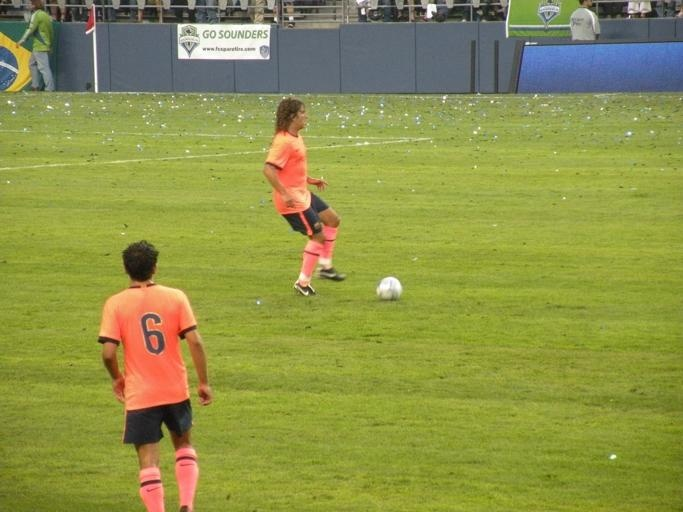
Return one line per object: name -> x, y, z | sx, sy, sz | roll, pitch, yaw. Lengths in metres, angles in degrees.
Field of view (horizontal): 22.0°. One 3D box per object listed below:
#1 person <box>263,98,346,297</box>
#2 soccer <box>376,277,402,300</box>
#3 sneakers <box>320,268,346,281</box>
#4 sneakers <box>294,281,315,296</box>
person -> -0.771, -1.098, 32.524 | 1.397, 3.617, 0.720 | -2, 8, -13
soccer -> 0.875, 0.585, 32.428 | 0.490, 0.401, 0.372 | -1, 8, -7
sneakers -> -0.230, 0.345, 32.894 | 0.546, 0.237, 0.191 | 6, 19, -7
sneakers -> -0.704, 0.598, 32.588 | 0.349, 0.120, 0.216 | 15, 11, -19
